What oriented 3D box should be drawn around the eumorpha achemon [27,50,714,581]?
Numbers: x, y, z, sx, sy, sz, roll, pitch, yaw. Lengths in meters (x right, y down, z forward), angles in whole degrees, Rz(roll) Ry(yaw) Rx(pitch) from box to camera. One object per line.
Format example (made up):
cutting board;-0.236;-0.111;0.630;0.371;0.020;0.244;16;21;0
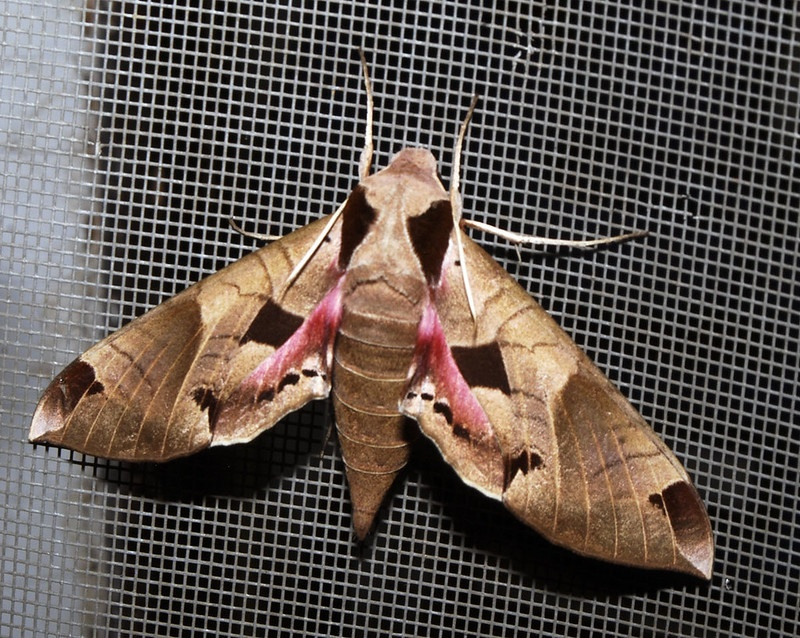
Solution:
eumorpha achemon;-0.025;0.167;4.182;2.194;0.310;1.127;12;75;1
